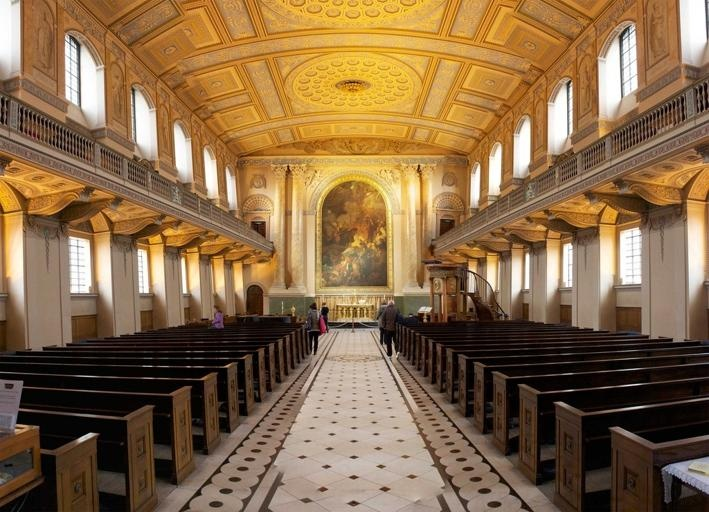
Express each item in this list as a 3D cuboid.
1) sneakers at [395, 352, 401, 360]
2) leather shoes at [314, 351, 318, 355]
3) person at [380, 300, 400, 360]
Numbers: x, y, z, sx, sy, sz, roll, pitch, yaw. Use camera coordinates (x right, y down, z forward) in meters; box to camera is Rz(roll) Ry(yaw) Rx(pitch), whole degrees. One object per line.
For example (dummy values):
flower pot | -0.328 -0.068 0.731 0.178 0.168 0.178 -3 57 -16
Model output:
sneakers | 1.391 3.252 16.807 0.129 0.132 0.112 2 -6 -28
leather shoes | -1.353 3.285 17.485 0.137 0.154 0.138 1 -3 -3
person | 1.257 2.429 17.364 0.668 1.818 0.628 -2 -4 19
